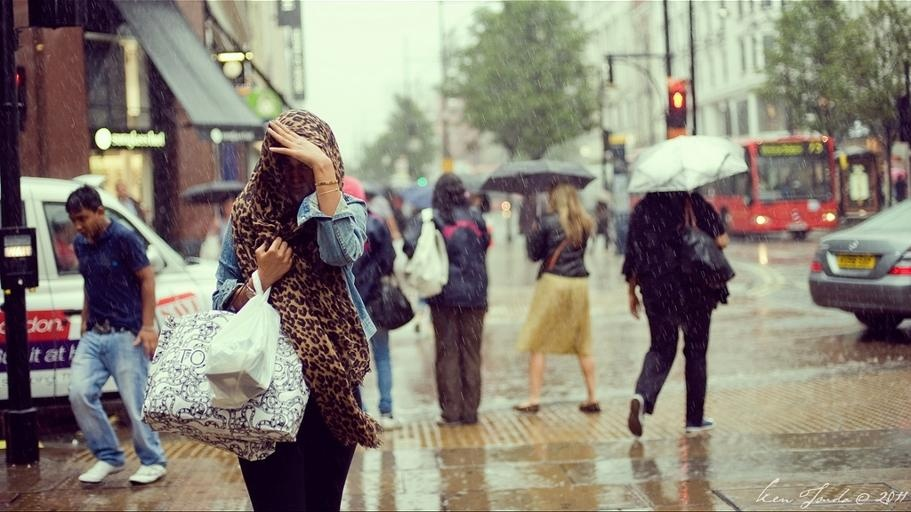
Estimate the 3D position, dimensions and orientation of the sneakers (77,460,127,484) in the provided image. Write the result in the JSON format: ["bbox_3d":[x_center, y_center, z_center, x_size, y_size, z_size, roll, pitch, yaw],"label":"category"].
[{"bbox_3d":[-3.877,2.338,12.298,0.559,0.247,0.208,-3,5,-22],"label":"sneakers"}]

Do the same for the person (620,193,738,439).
[{"bbox_3d":[2.502,0.638,12.579,1.146,2.712,0.596,-3,4,7],"label":"person"}]

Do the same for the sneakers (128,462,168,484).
[{"bbox_3d":[-3.362,2.365,12.247,0.427,0.174,0.171,1,2,-21],"label":"sneakers"}]

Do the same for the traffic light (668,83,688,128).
[{"bbox_3d":[2.830,-1.922,14.209,0.318,0.617,0.214,-4,4,-9],"label":"traffic light"}]

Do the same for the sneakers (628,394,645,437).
[{"bbox_3d":[2.001,1.774,12.524,0.173,0.451,0.191,-1,1,30],"label":"sneakers"}]

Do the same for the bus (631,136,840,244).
[{"bbox_3d":[3.941,-0.802,14.750,1.018,1.009,3.439,-1,-2,-13],"label":"bus"}]
